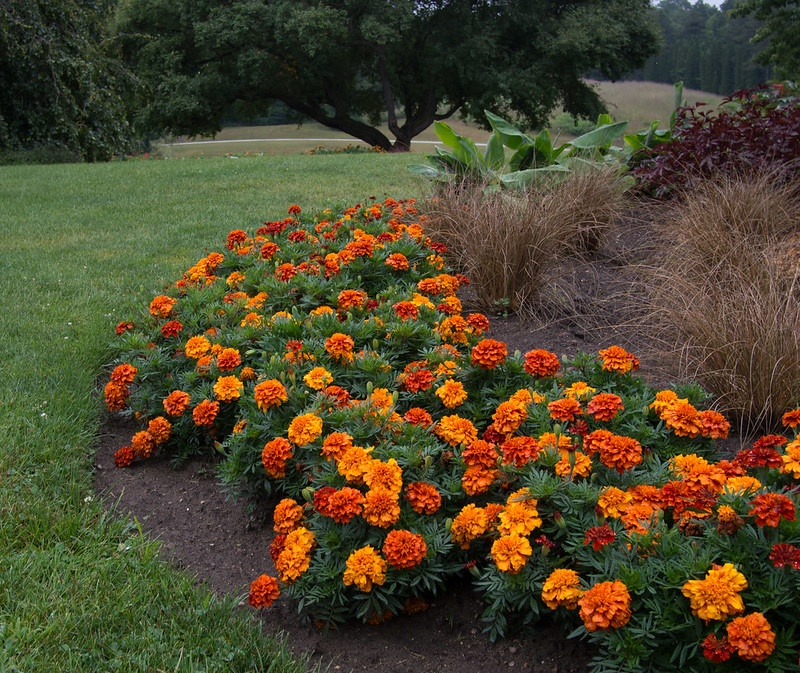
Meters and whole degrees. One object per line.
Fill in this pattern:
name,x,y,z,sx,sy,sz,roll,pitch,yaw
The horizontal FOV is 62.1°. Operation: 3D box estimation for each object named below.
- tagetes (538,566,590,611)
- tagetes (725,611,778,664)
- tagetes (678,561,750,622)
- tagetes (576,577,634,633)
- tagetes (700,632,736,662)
tagetes,0.570,0.905,2.325,0.144,0.090,0.141,-26,19,1
tagetes,1.101,0.951,2.094,0.121,0.104,0.083,-10,25,-7
tagetes,1.040,0.864,2.177,0.181,0.189,0.150,-18,27,-22
tagetes,0.696,0.933,2.248,0.174,0.182,0.136,-2,26,10
tagetes,1.012,1.004,2.122,0.086,0.035,0.084,-34,29,-21
